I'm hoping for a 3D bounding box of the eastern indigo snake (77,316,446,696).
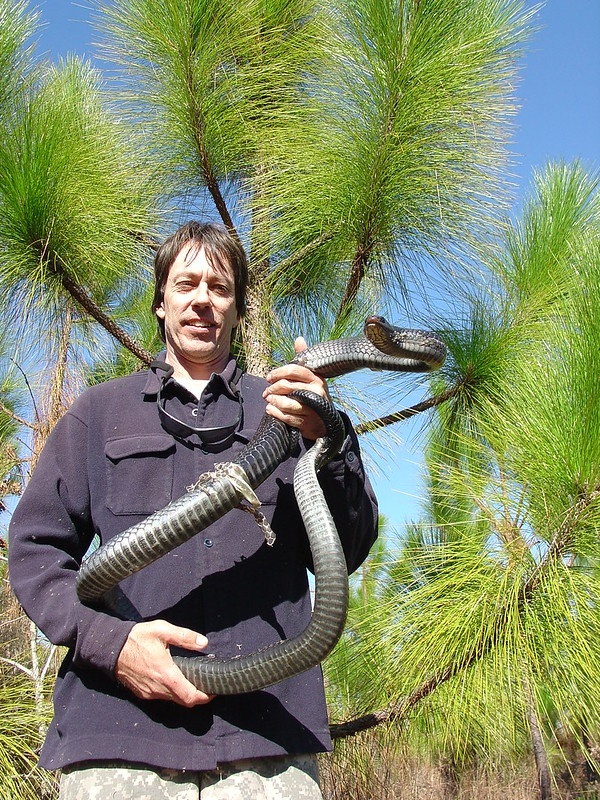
[{"bbox_3d":[0.015,0.153,2.780,0.786,0.415,1.444,24,64,13],"label":"eastern indigo snake"}]
